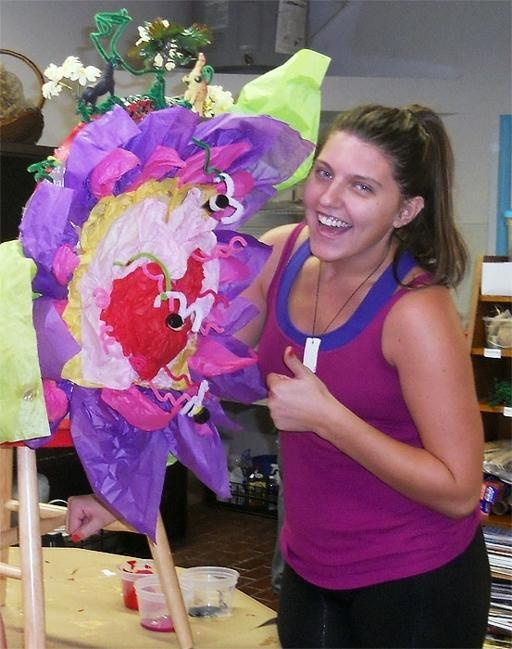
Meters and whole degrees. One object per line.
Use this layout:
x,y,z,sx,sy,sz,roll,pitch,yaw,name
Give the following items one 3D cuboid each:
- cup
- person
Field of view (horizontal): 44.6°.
-0.142,0.539,1.234,0.259,0.069,0.154,-1,0,-9,cup
0.158,0.090,0.996,0.381,0.885,0.307,-2,4,16,person
